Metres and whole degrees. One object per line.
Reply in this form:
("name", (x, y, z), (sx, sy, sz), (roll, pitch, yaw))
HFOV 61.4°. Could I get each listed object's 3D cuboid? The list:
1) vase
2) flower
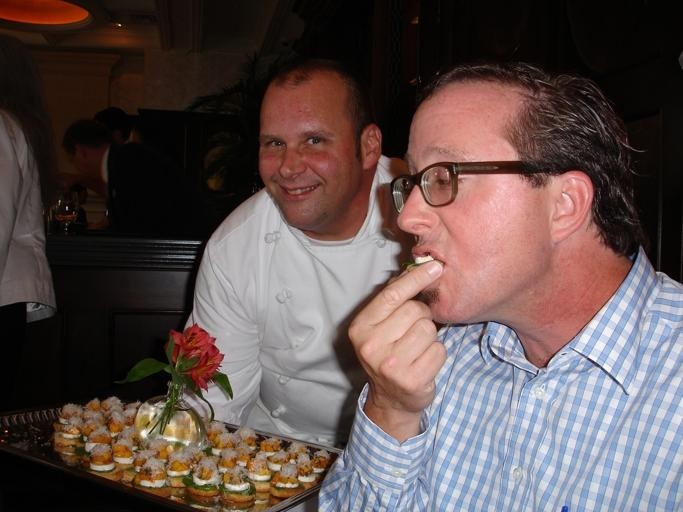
("vase", (-0.553, 0.548, 1.979), (0.183, 0.228, 0.181), (5, -9, 11))
("flower", (-0.545, 0.390, 1.909), (0.343, 0.294, 0.278), (-11, -29, 28))
